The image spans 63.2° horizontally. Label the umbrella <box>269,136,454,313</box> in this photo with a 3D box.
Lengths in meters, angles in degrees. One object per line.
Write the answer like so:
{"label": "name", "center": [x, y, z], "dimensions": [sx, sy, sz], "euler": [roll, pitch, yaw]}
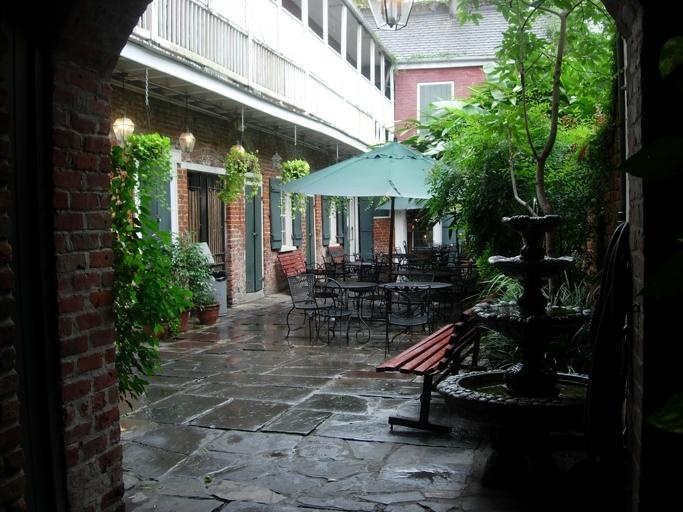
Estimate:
{"label": "umbrella", "center": [0.580, -0.733, 9.437], "dimensions": [2.240, 1.660, 2.366], "euler": [5, 8, 32]}
